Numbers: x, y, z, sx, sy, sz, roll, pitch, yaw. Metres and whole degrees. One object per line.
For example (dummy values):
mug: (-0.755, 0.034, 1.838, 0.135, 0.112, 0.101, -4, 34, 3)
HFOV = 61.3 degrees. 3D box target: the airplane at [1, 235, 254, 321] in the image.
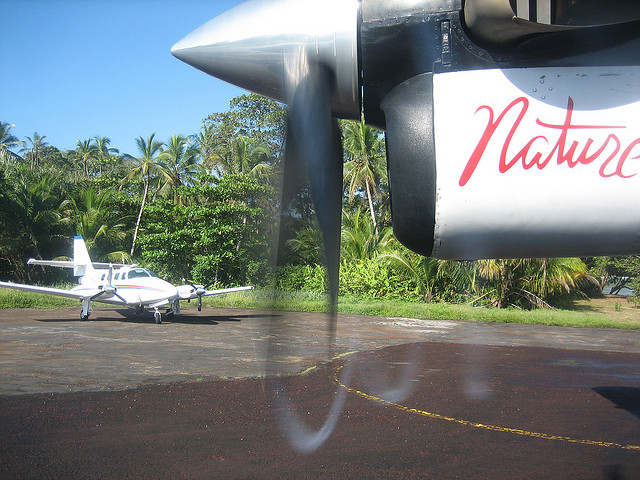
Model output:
airplane: (-10.358, 1.097, 22.004, 6.939, 2.931, 18.224, 1, -1, -40)

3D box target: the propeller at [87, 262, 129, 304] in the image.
propeller: (-6.787, 1.402, 16.746, 1.230, 1.108, 1.139, -2, -20, 4)
